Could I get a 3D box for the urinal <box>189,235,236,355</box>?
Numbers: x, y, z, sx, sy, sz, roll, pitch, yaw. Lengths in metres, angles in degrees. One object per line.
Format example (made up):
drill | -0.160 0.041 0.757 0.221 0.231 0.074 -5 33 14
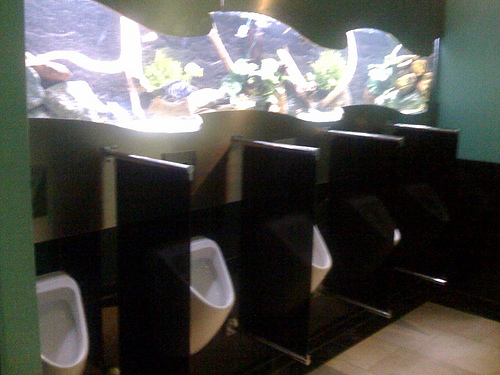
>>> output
urinal | -0.256 0.693 2.807 0.287 0.517 0.695 -2 22 -5
